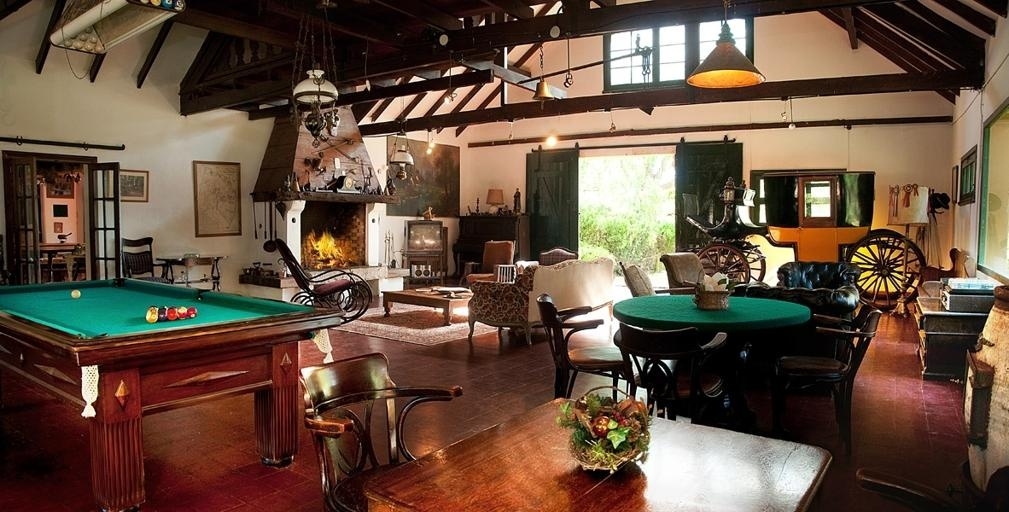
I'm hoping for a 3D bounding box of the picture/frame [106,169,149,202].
[{"bbox_3d":[-8.042,-1.514,14.021,0.790,0.659,0.039,4,4,15],"label":"picture/frame"}]

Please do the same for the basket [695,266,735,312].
[{"bbox_3d":[3.035,0.538,9.382,0.553,0.413,0.538,-4,5,-4],"label":"basket"}]

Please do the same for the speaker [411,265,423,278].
[{"bbox_3d":[-2.414,0.436,17.624,0.407,0.337,0.209,2,3,20],"label":"speaker"}]

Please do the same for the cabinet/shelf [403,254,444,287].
[{"bbox_3d":[-2.319,0.402,17.942,1.188,0.959,0.893,-3,3,-42],"label":"cabinet/shelf"}]

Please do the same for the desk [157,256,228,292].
[{"bbox_3d":[-6.831,0.480,14.406,0.821,0.837,1.037,-12,-7,40],"label":"desk"}]

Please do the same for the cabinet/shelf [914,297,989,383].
[{"bbox_3d":[6.745,1.257,9.735,0.931,0.893,1.465,1,4,27],"label":"cabinet/shelf"}]

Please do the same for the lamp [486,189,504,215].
[{"bbox_3d":[-0.270,-1.597,18.552,0.502,0.683,0.840,-3,5,-1],"label":"lamp"}]

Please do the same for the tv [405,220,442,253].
[{"bbox_3d":[-2.375,-0.493,17.880,1.210,0.920,0.687,-1,2,-44],"label":"tv"}]

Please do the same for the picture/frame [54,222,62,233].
[{"bbox_3d":[-11.764,-0.743,17.041,0.110,0.259,0.255,-3,5,-1],"label":"picture/frame"}]

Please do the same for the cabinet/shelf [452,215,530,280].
[{"bbox_3d":[-0.377,-0.236,18.304,1.897,1.537,1.067,1,2,28],"label":"cabinet/shelf"}]

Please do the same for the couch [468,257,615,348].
[{"bbox_3d":[0.893,0.833,13.009,1.499,1.327,3.139,1,4,39],"label":"couch"}]

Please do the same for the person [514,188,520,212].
[{"bbox_3d":[0.357,-1.567,18.328,0.193,0.647,0.541,-3,5,1],"label":"person"}]

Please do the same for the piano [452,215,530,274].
[{"bbox_3d":[-0.647,-0.273,18.417,1.984,1.615,1.085,1,8,-26],"label":"piano"}]
